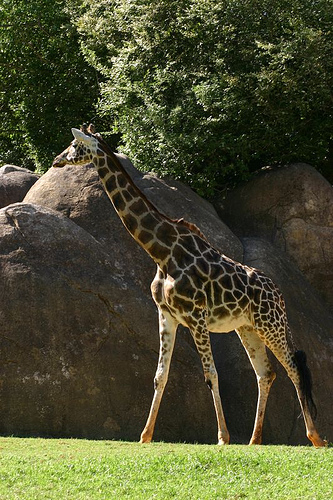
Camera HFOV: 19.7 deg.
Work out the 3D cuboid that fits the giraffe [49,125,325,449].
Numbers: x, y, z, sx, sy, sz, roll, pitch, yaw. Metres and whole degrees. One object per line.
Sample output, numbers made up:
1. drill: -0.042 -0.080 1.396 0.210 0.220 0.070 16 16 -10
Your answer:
1. giraffe: 0.332 0.646 11.629 2.289 2.389 4.910 -8 76 12
